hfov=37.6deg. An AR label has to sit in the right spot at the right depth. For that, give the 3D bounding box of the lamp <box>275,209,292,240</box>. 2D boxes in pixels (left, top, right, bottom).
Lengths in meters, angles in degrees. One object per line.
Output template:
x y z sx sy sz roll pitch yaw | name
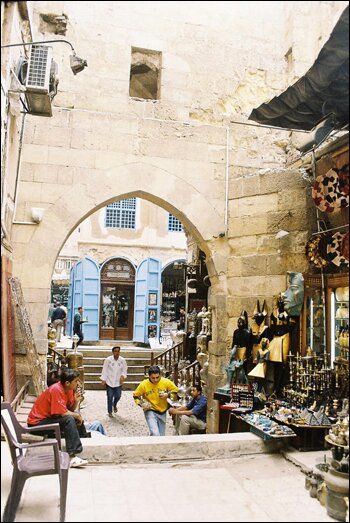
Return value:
1.458 -0.489 6.907 0.201 0.388 0.160 5 0 19 | lamp

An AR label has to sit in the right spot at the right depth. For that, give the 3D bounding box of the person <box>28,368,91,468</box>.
-0.986 1.317 4.398 0.505 0.747 0.401 2 -10 -8 | person

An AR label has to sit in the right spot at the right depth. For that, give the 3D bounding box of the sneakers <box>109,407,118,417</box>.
-1.083 2.592 8.875 0.093 0.200 0.288 0 -24 -3 | sneakers

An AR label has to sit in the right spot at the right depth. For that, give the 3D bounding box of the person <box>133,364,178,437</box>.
-0.213 1.709 5.800 0.493 0.993 0.319 -3 4 -11 | person

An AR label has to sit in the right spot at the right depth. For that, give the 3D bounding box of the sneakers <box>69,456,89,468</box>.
-0.823 1.712 4.407 0.160 0.077 0.070 2 -11 -9 | sneakers

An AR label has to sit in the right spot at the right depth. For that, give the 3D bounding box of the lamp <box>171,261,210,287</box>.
0.334 0.311 11.408 0.841 0.511 0.394 1 0 -3 | lamp

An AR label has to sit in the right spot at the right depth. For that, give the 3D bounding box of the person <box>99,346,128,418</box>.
-1.042 2.033 8.801 0.365 1.231 0.583 5 0 20 | person

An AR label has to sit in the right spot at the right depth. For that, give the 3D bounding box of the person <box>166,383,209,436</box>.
0.165 1.903 6.339 0.489 0.759 0.287 5 -5 -18 | person

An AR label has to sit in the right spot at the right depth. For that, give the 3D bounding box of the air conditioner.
-1.600 -2.109 6.004 0.267 0.686 0.700 1 -25 -4 | air conditioner

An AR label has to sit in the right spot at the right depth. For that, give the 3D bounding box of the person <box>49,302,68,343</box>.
-3.291 1.741 14.424 0.356 1.056 0.848 5 0 -14 | person
